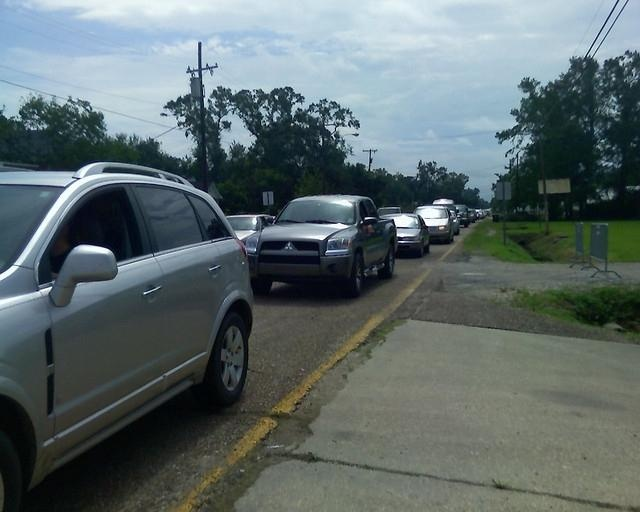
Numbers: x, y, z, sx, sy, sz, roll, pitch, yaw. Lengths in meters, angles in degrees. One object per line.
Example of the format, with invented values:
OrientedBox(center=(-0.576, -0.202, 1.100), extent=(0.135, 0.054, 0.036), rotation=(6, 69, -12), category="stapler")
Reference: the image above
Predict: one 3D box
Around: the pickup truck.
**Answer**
OrientedBox(center=(0.231, -0.283, 11.250), extent=(1.490, 1.471, 3.461), rotation=(-1, -2, 18), category="pickup truck")

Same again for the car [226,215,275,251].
OrientedBox(center=(-2.646, -0.870, 17.585), extent=(1.091, 1.039, 2.622), rotation=(0, 1, 8), category="car")
